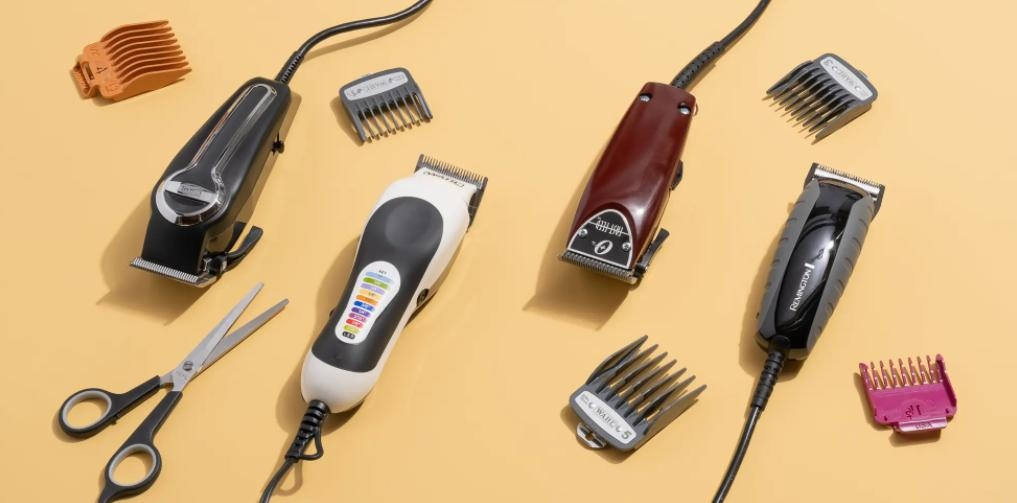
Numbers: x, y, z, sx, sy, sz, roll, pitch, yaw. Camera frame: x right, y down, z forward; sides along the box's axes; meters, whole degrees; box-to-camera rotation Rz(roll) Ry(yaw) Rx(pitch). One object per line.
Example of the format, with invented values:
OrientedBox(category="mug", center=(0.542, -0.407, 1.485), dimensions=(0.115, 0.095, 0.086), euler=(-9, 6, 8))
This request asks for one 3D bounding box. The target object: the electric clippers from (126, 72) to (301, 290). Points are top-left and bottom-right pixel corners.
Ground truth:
OrientedBox(category="electric clippers", center=(-0.666, -0.152, 2.031), dimensions=(0.241, 0.531, 0.155), euler=(21, -28, 6))

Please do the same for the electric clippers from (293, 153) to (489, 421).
OrientedBox(category="electric clippers", center=(-0.268, 0.072, 1.968), dimensions=(0.226, 0.738, 0.216), euler=(27, -22, 7))

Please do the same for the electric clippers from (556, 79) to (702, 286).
OrientedBox(category="electric clippers", center=(0.280, -0.154, 1.931), dimensions=(0.231, 0.503, 0.125), euler=(19, -6, 17))

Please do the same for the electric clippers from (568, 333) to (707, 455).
OrientedBox(category="electric clippers", center=(0.285, 0.318, 1.882), dimensions=(0.196, 0.308, 0.100), euler=(40, -18, 25))

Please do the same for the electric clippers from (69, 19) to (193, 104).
OrientedBox(category="electric clippers", center=(-0.931, -0.466, 2.147), dimensions=(0.292, 0.180, 0.098), euler=(-21, -19, -15))

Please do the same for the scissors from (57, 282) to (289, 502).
OrientedBox(category="scissors", center=(-0.759, 0.308, 1.892), dimensions=(0.397, 0.525, 0.136), euler=(5, -37, 18))
